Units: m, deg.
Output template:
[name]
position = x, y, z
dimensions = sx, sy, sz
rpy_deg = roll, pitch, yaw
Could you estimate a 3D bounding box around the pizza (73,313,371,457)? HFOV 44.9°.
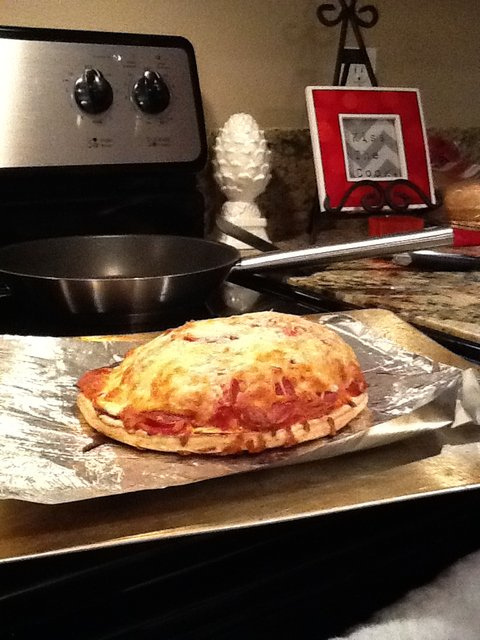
[pizza]
position = -0.003, 0.029, 0.403
dimensions = 0.140, 0.035, 0.121
rpy_deg = -3, 12, -21
